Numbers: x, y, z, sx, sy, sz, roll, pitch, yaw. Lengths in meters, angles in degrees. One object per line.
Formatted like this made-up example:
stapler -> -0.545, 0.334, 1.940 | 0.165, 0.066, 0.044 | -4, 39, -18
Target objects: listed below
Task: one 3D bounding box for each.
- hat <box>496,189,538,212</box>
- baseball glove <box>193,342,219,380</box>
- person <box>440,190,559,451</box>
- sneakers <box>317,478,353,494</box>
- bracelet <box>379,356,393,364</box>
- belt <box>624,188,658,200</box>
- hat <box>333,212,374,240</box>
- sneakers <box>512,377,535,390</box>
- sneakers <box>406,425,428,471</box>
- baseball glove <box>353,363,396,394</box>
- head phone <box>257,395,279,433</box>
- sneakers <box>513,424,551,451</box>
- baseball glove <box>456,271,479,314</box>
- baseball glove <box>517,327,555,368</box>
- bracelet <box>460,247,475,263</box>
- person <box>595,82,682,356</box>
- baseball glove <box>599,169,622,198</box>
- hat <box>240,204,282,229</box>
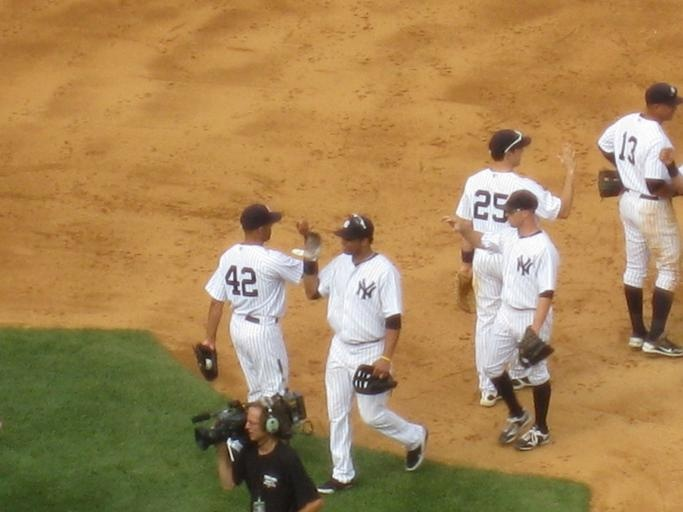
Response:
hat -> 2.504, -0.778, 18.457 | 0.367, 0.201, 0.278 | 4, 13, 31
baseball glove -> -1.820, 1.450, 18.622 | 0.354, 0.495, 0.159 | -21, 7, 44
person -> 2.542, 0.918, 18.678 | 0.908, 3.693, 1.356 | -3, 6, -38
sneakers -> -0.104, 3.140, 18.328 | 0.510, 0.196, 0.187 | -4, 11, -17
bracelet -> 0.598, 1.392, 18.082 | 0.154, 0.103, 0.146 | 1, 5, -2
belt -> 4.498, -0.923, 19.944 | 0.150, 0.131, 0.578 | -4, 7, -43
hat -> 0.184, -0.380, 18.151 | 0.459, 0.252, 0.346 | 7, 23, -4
sneakers -> 2.762, 1.922, 20.014 | 0.376, 0.155, 0.137 | 5, -3, -32
sneakers -> 1.049, 2.745, 18.647 | 0.251, 0.670, 0.241 | 5, 23, -12
baseball glove -> 0.451, 1.694, 18.026 | 0.488, 0.218, 0.366 | 10, -1, -20
head phone -> -0.929, 2.011, 16.685 | 0.149, 0.375, 0.399 | -13, 3, -7
sneakers -> 2.704, 2.596, 18.902 | 0.582, 0.266, 0.230 | -21, 52, -21
baseball glove -> 1.974, 0.552, 21.012 | 0.295, 0.724, 0.394 | -31, 48, -21
baseball glove -> 2.653, 1.263, 18.203 | 0.495, 0.582, 0.275 | 3, 5, 20
bracelet -> 1.918, -0.006, 20.229 | 0.181, 0.175, 0.184 | 4, 10, 0
person -> 4.681, -0.542, 20.135 | 0.952, 4.116, 1.197 | -2, 6, -30
baseball glove -> 4.076, -1.076, 20.265 | 0.376, 0.383, 0.256 | 3, -19, 4
hat -> -1.137, -0.557, 18.491 | 0.488, 0.260, 0.320 | -21, 37, -15
